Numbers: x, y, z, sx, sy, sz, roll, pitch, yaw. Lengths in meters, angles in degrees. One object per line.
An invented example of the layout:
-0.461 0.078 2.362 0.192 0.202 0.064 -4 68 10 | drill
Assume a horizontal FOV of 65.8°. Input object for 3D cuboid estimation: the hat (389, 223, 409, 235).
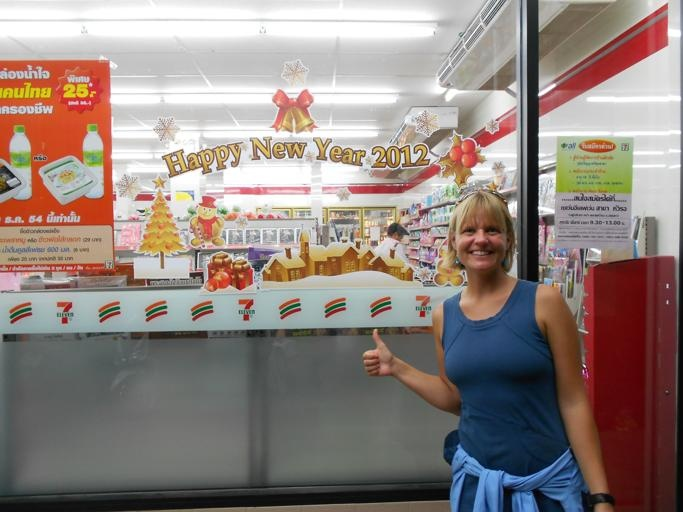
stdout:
0.337 -0.159 3.078 0.097 0.083 0.073 -3 0 -16 | hat
